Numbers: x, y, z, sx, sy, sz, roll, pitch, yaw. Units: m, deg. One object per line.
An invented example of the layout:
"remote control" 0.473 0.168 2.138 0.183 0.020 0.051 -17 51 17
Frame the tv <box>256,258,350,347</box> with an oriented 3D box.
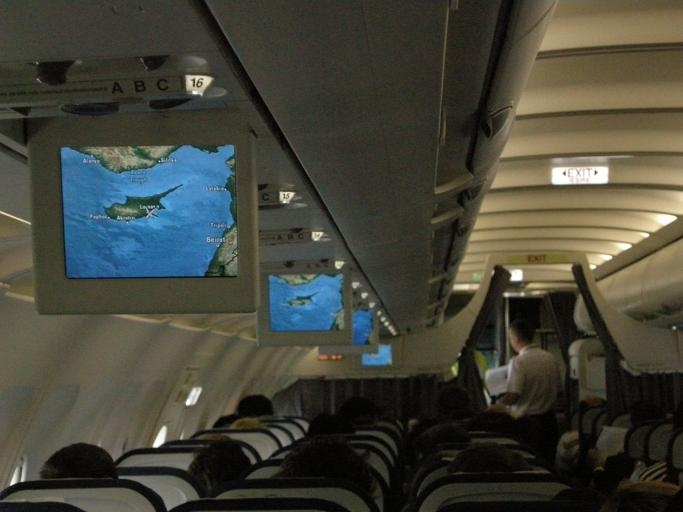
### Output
"tv" -0.587 0.854 10.313 1.588 1.317 0.483 5 -20 -3
